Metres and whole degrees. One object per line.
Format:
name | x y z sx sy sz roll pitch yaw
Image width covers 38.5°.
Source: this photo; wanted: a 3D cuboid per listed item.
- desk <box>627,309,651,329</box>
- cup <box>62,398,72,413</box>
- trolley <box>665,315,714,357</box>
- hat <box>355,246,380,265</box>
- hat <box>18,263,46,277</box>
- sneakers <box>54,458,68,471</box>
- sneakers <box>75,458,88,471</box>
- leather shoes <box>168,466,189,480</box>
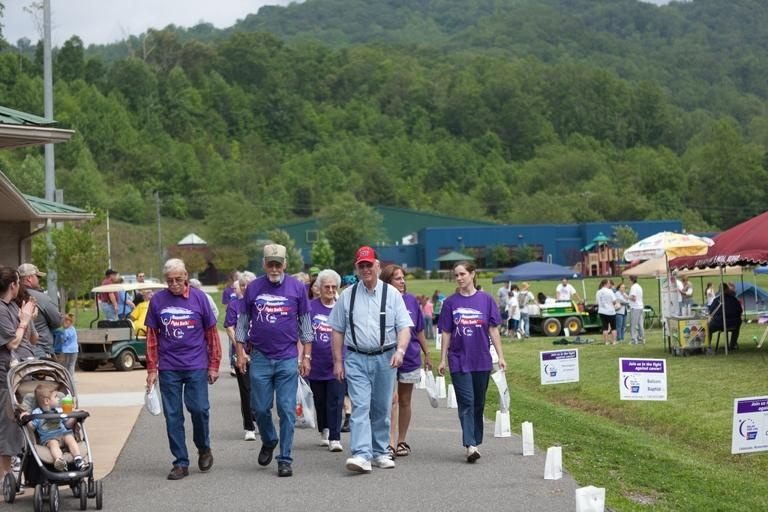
desk | 9.476 2.348 40.897 0.765 0.782 1.129 1 0 2
cup | -6.489 3.050 22.470 0.253 0.355 0.249 0 -9 0
trolley | 9.538 2.495 34.511 0.961 1.209 1.251 -3 -2 -3
hat | -0.387 -0.021 23.553 0.364 0.299 0.564 -2 -4 7
hat | -8.040 0.323 25.032 0.384 0.241 0.604 5 1 31
sneakers | -6.495 4.165 22.009 0.130 0.402 0.186 -12 20 -24
sneakers | -6.102 4.183 22.079 0.295 0.227 0.160 -3 2 -7
leather shoes | -4.355 4.553 23.105 0.443 0.258 0.261 -3 2 -12
